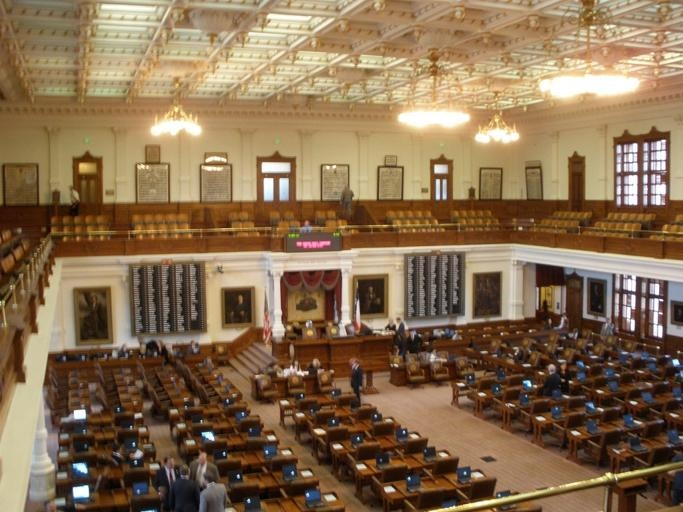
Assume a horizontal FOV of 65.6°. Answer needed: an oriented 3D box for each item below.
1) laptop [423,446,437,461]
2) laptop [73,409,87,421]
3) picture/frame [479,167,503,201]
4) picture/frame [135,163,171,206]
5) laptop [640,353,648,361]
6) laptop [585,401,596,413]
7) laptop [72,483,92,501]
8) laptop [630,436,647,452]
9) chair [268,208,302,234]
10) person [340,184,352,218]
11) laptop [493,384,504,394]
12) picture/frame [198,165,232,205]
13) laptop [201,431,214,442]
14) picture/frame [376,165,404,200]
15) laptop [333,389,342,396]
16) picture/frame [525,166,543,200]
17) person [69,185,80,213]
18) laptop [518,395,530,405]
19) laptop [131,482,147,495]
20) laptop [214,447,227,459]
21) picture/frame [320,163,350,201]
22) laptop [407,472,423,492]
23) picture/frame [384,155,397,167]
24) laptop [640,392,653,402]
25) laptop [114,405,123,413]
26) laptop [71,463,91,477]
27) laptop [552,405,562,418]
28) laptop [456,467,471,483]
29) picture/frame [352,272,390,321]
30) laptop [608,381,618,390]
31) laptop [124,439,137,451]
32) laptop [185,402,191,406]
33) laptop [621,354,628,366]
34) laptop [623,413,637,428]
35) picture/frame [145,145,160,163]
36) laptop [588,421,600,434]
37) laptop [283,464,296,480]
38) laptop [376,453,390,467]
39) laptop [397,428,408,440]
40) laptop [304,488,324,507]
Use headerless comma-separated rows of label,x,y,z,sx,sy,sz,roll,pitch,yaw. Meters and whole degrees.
laptop,2.030,4.500,12.089,0.277,0.221,0.224,-1,5,-19
laptop,-6.716,4.029,13.571,0.267,0.237,0.290,0,5,-9
picture/frame,8.171,-4.022,29.039,1.589,2.219,0.149,2,-3,-28
picture/frame,-8.834,-3.355,24.402,1.694,2.195,0.133,-1,2,-29
laptop,11.042,3.621,19.142,0.244,0.143,0.366,-2,11,25
laptop,6.980,4.151,14.681,0.305,0.324,0.286,-1,4,-2
laptop,-4.901,4.432,9.918,0.254,0.272,0.273,3,-33,-17
laptop,6.984,4.418,12.447,0.237,0.187,0.266,-1,3,-9
chair,-2.730,-1.864,25.370,1.623,1.013,1.634,-3,2,-8
person,0.240,-2.676,26.130,0.528,1.649,1.284,-2,2,-1
laptop,4.891,4.127,16.484,0.240,0.280,0.077,3,-10,-12
picture/frame,-6.107,-3.446,25.119,1.637,2.155,0.157,-1,2,-21
laptop,-3.175,4.273,12.545,0.193,0.061,0.228,-1,32,-11
picture/frame,2.460,-3.866,27.414,1.571,2.118,0.269,0,-1,-25
laptop,-0.133,4.197,16.313,0.254,0.209,0.236,0,2,-23
picture/frame,10.283,-3.902,28.054,0.208,1.845,1.174,-3,2,-20
person,-11.754,-2.459,23.177,0.373,0.969,0.855,-3,2,-27
laptop,5.372,4.192,15.485,0.231,0.298,0.246,-1,-3,0
laptop,-3.808,4.362,9.915,0.255,0.140,0.221,-3,2,-14
laptop,-2.671,4.328,11.617,0.242,0.270,0.180,0,1,-3
picture/frame,-0.412,-3.728,26.553,1.733,2.269,0.135,-2,5,-31
laptop,1.486,4.619,10.792,0.287,0.234,0.231,1,5,-24
picture/frame,2.492,-4.968,27.372,0.531,0.513,0.076,0,13,-11
laptop,8.828,4.048,15.273,0.320,0.230,0.298,-2,7,-14
laptop,-6.311,4.309,14.895,0.244,0.075,0.274,-1,7,-19
laptop,-5.422,4.298,10.924,0.357,0.389,0.209,0,3,8
laptop,5.870,4.208,14.444,0.285,0.322,0.233,-1,1,-18
laptop,2.568,4.540,11.125,0.333,0.278,0.252,-1,5,-15
picture/frame,1.232,1.730,23.749,1.910,2.491,0.145,0,1,-20
laptop,8.329,3.925,16.156,0.263,0.200,0.244,-3,11,-9
laptop,-4.873,4.319,12.182,0.256,0.162,0.443,-3,2,-20
laptop,-4.450,4.243,15.228,0.116,0.132,0.223,2,-10,-20
laptop,10.434,3.799,19.357,0.096,0.424,0.406,-2,-10,33
laptop,7.489,4.255,13.659,0.331,0.238,0.258,-3,3,-12
picture/frame,-8.777,-4.732,24.293,0.755,1.046,0.094,0,3,-34
laptop,6.412,4.339,13.464,0.317,0.247,0.270,-3,11,-17
laptop,-1.105,4.591,11.233,0.266,0.226,0.234,1,5,-19
laptop,0.929,4.442,11.754,0.300,0.246,0.229,0,6,-25
laptop,1.536,4.430,13.242,0.235,0.284,0.195,1,-3,-6
laptop,-0.545,4.647,10.203,0.309,0.276,0.438,-3,2,-3
